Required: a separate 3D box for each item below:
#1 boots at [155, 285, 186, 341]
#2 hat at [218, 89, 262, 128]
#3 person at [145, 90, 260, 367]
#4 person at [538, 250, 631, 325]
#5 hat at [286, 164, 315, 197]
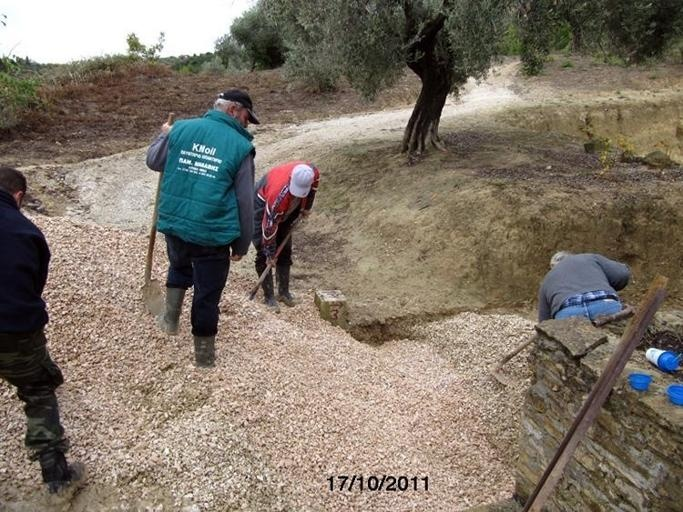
[{"bbox_3d":[-1.638,0.527,5.096,0.240,0.518,0.505,5,20,-23],"label":"boots"},{"bbox_3d":[-0.962,-1.472,5.152,0.437,0.264,0.313,16,-1,0],"label":"hat"},{"bbox_3d":[-1.244,-0.246,4.995,1.009,2.393,0.913,-6,22,-20],"label":"person"},{"bbox_3d":[2.283,0.400,4.938,0.716,0.688,0.730,4,21,3],"label":"person"},{"bbox_3d":[-0.451,-0.897,5.997,0.280,0.233,0.440,20,36,-12],"label":"hat"}]
